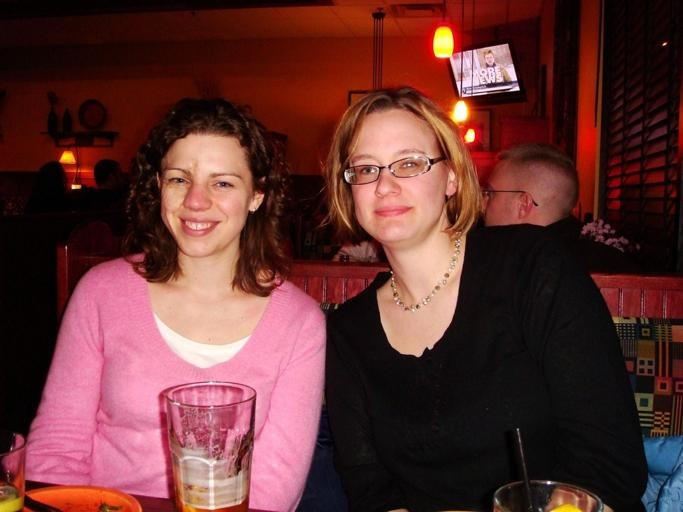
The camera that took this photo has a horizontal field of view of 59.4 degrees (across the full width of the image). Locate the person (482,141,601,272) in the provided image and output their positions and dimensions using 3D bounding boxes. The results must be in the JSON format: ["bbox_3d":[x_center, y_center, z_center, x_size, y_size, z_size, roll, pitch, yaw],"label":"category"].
[{"bbox_3d":[1.043,-0.349,3.300,0.563,0.625,0.711,14,38,31],"label":"person"}]

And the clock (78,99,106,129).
[{"bbox_3d":[-4.276,-2.460,10.387,0.506,0.516,0.182,-2,11,20],"label":"clock"}]

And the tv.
[{"bbox_3d":[1.954,-2.507,8.118,0.110,0.761,1.058,-37,28,-31],"label":"tv"}]

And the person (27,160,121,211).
[{"bbox_3d":[-2.817,-0.711,6.496,0.795,0.505,0.826,6,10,43],"label":"person"}]

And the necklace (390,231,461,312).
[{"bbox_3d":[0.282,0.067,1.966,0.201,0.264,0.030,21,2,31],"label":"necklace"}]
